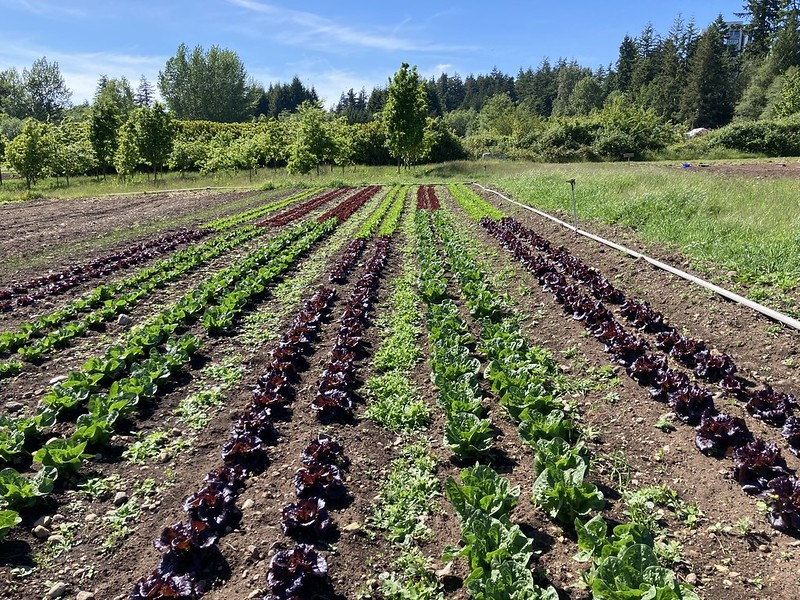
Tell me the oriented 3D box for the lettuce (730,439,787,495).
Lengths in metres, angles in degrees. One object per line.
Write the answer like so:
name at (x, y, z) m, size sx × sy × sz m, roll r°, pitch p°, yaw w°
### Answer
lettuce at (4.392, 1.905, 7.413) m, size 0.410 × 0.209 × 0.433 m, roll -12°, pitch 27°, yaw 5°

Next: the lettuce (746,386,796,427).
lettuce at (4.867, 1.404, 8.213) m, size 0.472 × 0.254 × 0.506 m, roll -27°, pitch -10°, yaw -25°
